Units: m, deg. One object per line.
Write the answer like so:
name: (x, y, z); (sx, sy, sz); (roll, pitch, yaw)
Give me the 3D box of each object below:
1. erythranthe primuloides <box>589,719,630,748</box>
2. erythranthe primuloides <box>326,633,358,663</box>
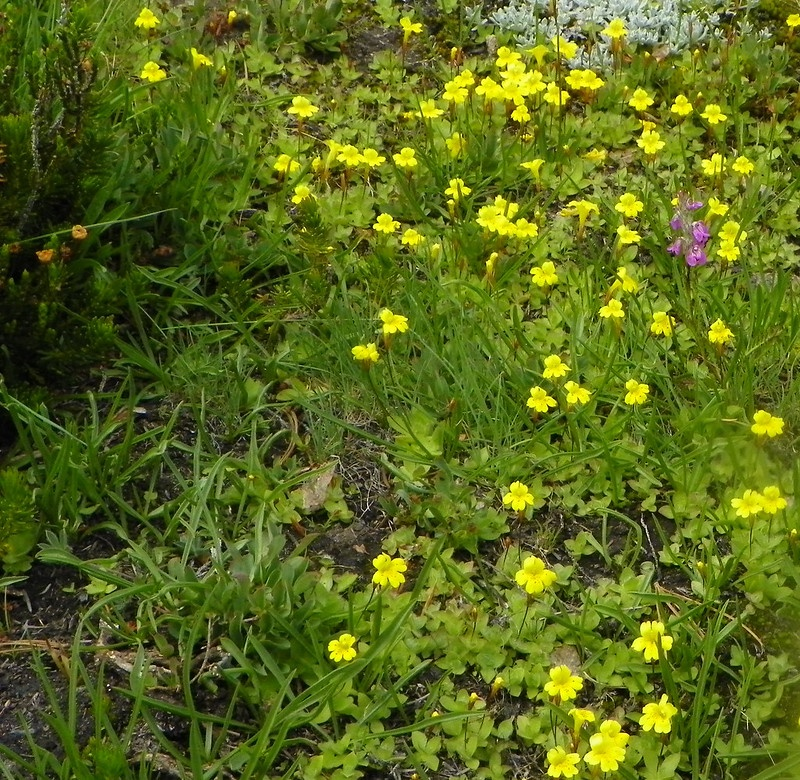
erythranthe primuloides: (0.494, 0.931, 2.319); (0.087, 0.039, 0.088); (3, 40, -21)
erythranthe primuloides: (-0.148, 0.759, 2.483); (0.084, 0.023, 0.088); (-12, 63, -1)
